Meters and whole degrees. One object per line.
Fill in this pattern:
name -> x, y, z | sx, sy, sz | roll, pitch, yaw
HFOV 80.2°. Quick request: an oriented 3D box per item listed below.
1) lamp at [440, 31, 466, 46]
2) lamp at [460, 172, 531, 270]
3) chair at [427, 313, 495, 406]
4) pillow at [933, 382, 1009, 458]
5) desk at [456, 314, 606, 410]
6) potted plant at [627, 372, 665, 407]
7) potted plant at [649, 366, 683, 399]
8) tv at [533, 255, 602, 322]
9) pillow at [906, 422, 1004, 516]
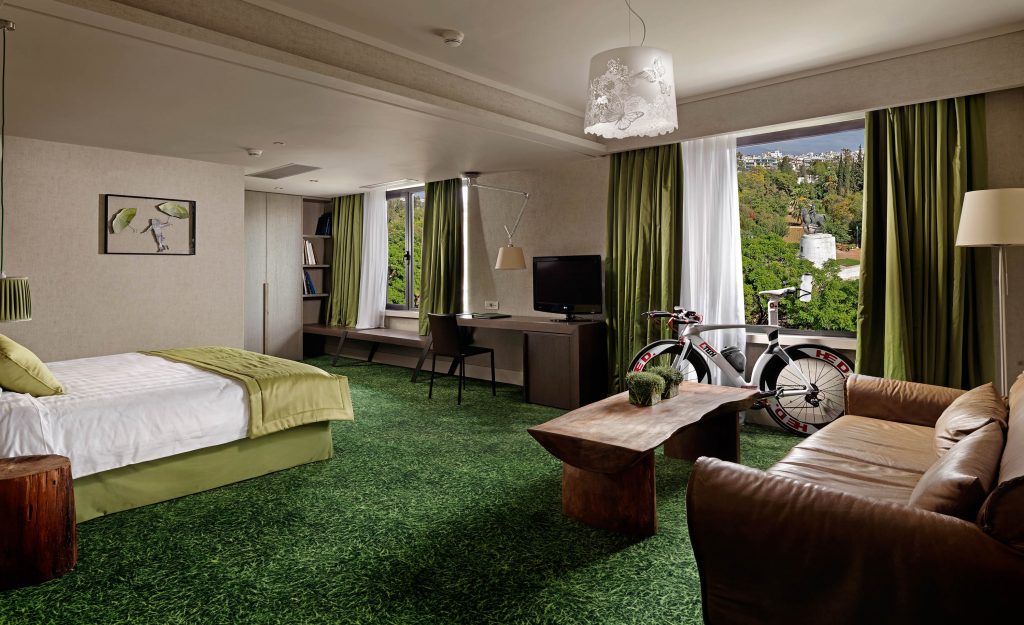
lamp -> -0.452, -2.122, 4.712 | 0.197, 0.070, 0.202 | -4, 6, -22
lamp -> -0.124, -1.108, 7.296 | 0.638, 1.216, 0.955 | -4, 6, -19
chair -> -0.559, 0.488, 6.859 | 0.652, 0.927, 0.676 | 1, 3, 30
pillow -> 2.795, 0.645, 3.755 | 0.322, 0.271, 0.764 | -13, 0, 40
desk -> 0.095, 0.527, 7.040 | 1.847, 0.957, 0.639 | 4, 10, 35
potted plant -> 0.992, 0.553, 4.478 | 0.263, 0.213, 0.242 | 1, 0, 9
potted plant -> 1.210, 0.541, 4.686 | 0.233, 0.194, 0.232 | 0, 0, -17
tv -> 0.607, -0.252, 6.787 | 0.927, 0.731, 0.214 | 3, 6, 39
pillow -> 2.333, 0.807, 3.151 | 0.876, 0.307, 0.361 | -20, 5, -44
